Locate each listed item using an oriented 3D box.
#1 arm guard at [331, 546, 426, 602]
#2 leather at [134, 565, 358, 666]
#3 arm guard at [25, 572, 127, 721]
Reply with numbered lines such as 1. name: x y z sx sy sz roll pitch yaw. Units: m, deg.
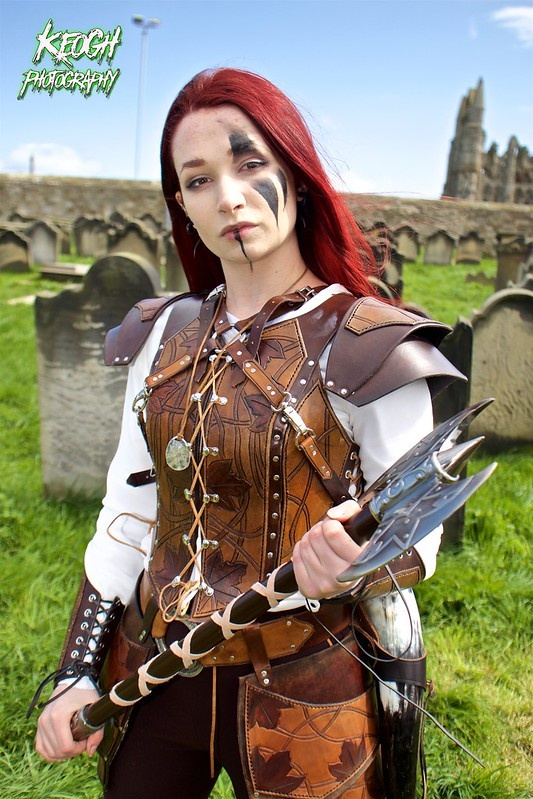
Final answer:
1. arm guard: 0.210 0.298 1.132 0.088 0.045 0.111 8 9 2
2. leather: -0.061 0.412 1.213 0.319 0.089 0.232 -5 -7 -10
3. arm guard: -0.364 0.495 1.475 0.130 0.381 0.120 8 -19 42
